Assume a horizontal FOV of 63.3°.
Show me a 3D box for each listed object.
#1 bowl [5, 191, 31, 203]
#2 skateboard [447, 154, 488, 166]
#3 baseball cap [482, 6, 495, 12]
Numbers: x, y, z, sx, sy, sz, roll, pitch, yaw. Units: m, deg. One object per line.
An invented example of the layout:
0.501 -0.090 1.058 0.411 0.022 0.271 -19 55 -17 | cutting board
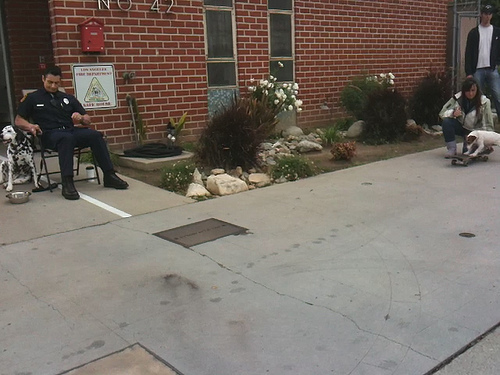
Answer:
-3.079 0.136 5.388 0.289 0.121 0.294 -2 15 0 | bowl
3.746 -0.470 6.928 0.764 0.130 0.251 -7 15 -33 | skateboard
4.794 -3.568 8.124 0.360 0.114 0.130 -13 18 -37 | baseball cap
